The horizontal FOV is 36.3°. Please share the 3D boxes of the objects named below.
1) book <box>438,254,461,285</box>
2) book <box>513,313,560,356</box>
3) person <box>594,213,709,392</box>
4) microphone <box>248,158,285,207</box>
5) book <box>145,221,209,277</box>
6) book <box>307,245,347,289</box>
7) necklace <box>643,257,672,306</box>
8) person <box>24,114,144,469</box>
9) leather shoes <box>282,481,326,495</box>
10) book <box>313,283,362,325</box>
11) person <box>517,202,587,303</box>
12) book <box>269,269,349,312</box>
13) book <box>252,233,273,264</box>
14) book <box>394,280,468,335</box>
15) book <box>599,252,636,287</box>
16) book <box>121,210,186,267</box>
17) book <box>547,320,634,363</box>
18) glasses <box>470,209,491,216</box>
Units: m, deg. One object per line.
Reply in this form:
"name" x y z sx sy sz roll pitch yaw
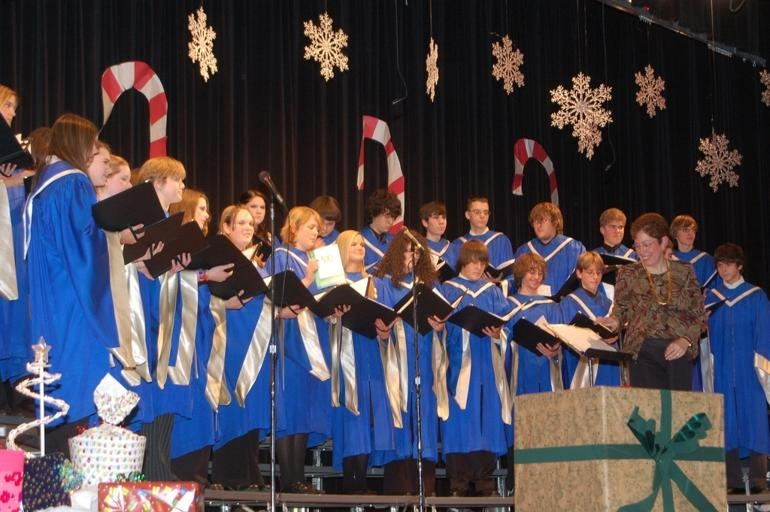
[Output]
"book" 0.538 0.121 9.956 0.124 0.221 0.123 -27 -36 -10
"book" 1.209 0.669 9.516 0.332 0.080 0.325 38 -23 -14
"person" 2.039 0.351 8.929 0.738 1.341 0.437 -6 -8 16
"microphone" -1.038 -0.626 10.073 0.166 0.160 0.898 -22 29 -5
"book" -1.429 -0.056 8.127 0.477 0.113 0.349 -37 -34 -7
"book" -0.437 0.087 9.020 0.233 0.337 0.105 -9 2 -13
"necklace" 2.101 0.204 8.979 0.153 0.311 0.071 -8 -11 7
"person" -2.055 0.157 7.764 0.631 2.244 0.370 -1 -8 -18
"leather shoes" -0.635 1.736 8.772 0.249 0.107 0.125 -5 -6 13
"book" -0.369 0.342 8.794 0.262 0.105 0.280 14 -36 -43
"person" 1.509 -0.016 10.873 0.763 1.129 0.423 -8 -16 34
"book" -0.694 0.249 8.666 0.287 0.080 0.297 -14 -49 27
"book" -1.004 -0.069 9.513 0.079 0.239 0.333 -4 3 -6
"book" 0.279 0.408 9.051 0.400 0.098 0.398 35 -50 -22
"book" 2.003 0.053 10.251 0.249 0.127 0.363 9 -4 45
"book" -1.567 -0.090 7.934 0.410 0.268 0.320 -31 8 -16
"book" 1.483 0.612 8.598 0.583 0.311 0.493 -6 -9 14
"glasses" 0.876 -0.403 10.820 0.145 0.055 0.086 -1 -9 -16
